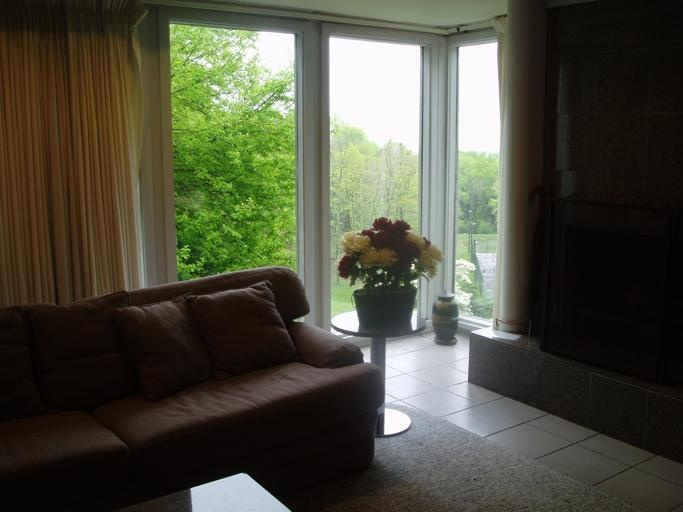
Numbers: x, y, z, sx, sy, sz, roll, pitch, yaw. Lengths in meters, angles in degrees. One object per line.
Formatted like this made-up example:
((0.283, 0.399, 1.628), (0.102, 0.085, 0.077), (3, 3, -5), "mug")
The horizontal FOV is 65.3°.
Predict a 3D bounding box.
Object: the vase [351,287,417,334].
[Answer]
((0.284, 0.350, 3.526), (0.448, 0.261, 0.403), (-3, 5, 12), "vase")

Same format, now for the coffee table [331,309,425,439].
((0.200, 0.774, 3.663), (0.708, 0.819, 0.742), (-2, 11, -8), "coffee table")

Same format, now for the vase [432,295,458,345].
((0.973, 0.572, 4.980), (0.241, 0.481, 0.210), (2, 12, 10), "vase")

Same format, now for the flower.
((0.308, 0.021, 3.488), (0.625, 0.540, 0.587), (-2, -7, 17), "flower")
